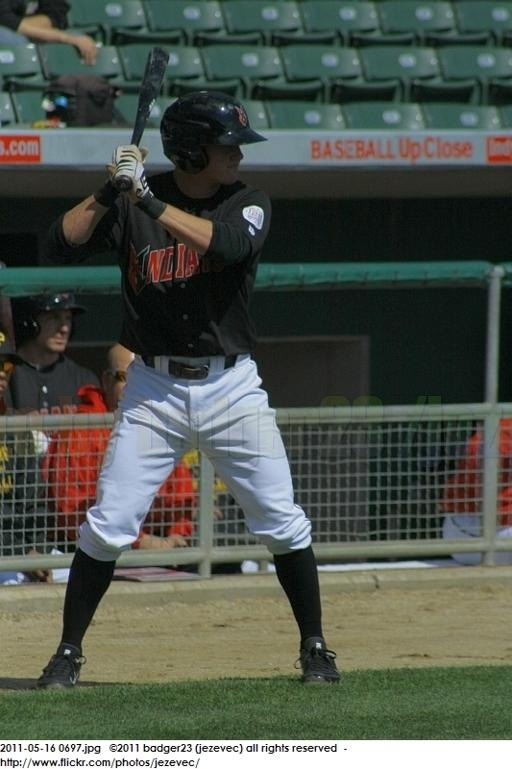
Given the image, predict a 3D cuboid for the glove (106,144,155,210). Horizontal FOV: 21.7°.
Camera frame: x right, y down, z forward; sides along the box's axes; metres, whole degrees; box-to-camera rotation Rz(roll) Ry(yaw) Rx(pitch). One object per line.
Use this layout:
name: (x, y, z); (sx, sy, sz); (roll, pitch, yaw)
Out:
glove: (-0.338, -0.588, 3.781); (0.072, 0.164, 0.113); (-14, 9, 2)

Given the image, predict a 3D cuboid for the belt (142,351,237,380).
belt: (-0.197, -0.047, 3.988); (0.274, 0.070, 0.078); (-1, 4, 1)

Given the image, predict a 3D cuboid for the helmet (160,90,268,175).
helmet: (-0.126, -0.758, 3.973); (0.322, 0.201, 0.240); (4, 10, 18)

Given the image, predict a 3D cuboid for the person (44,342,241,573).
person: (-0.570, 0.314, 5.295); (0.710, 0.792, 0.234); (1, -11, -11)

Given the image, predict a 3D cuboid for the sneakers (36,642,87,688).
sneakers: (-0.581, 0.838, 3.964); (0.076, 0.069, 0.184); (11, 4, 3)

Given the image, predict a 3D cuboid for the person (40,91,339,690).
person: (-0.212, 0.031, 3.980); (0.878, 1.814, 0.408); (-1, 5, 2)

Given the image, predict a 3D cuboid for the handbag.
handbag: (-0.995, -1.742, 8.308); (0.602, 0.375, 0.429); (-9, 14, -33)

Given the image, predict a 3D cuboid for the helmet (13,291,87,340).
helmet: (-0.900, -0.286, 5.778); (0.285, 0.210, 0.200); (1, 6, 15)
